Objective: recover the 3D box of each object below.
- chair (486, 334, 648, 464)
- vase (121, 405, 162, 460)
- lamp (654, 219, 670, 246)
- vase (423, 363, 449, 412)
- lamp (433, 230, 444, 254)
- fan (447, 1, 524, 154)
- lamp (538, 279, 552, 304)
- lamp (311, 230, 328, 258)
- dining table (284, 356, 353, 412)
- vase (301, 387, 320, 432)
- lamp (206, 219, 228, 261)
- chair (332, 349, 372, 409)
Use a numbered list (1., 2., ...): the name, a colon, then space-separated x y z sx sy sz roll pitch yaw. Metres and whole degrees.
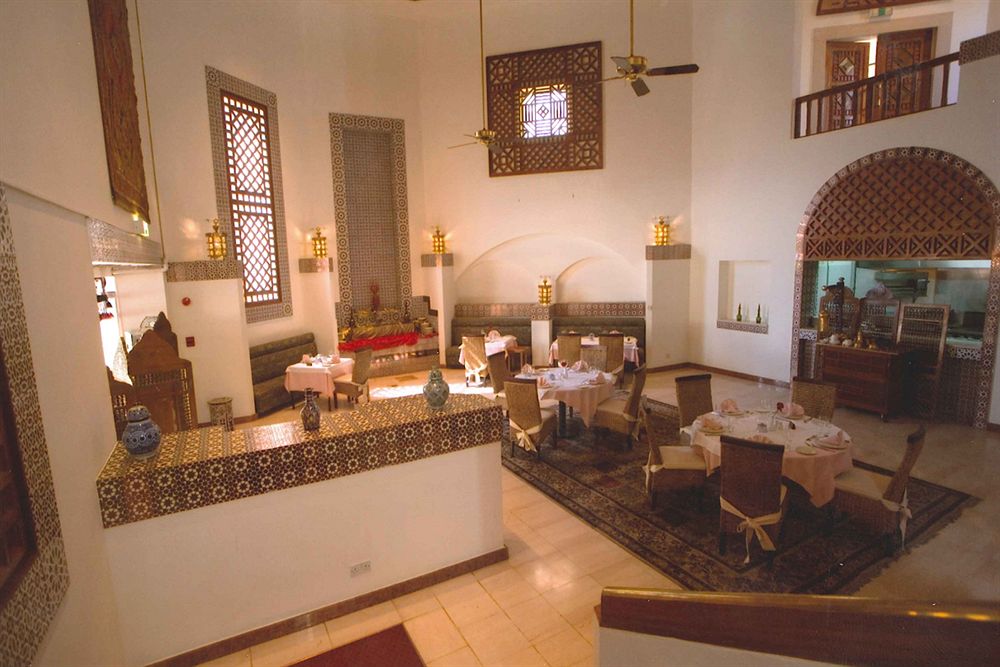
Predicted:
1. chair: 1.107 0.963 9.969 1.449 0.860 1.598 -3 16 1
2. vase: -3.209 0.887 6.300 0.445 0.419 0.445 -6 6 -24
3. lamp: 3.126 -2.014 13.431 0.352 0.494 0.201 -2 9 13
4. vase: -0.651 0.556 7.214 0.254 0.430 0.330 -5 8 -7
5. lamp: -1.245 -1.977 14.702 0.301 0.500 0.286 -5 9 -10
6. fan: -0.438 -5.155 13.789 0.794 2.922 1.388 -7 9 -24
7. lamp: 0.967 -0.906 14.515 0.314 0.547 0.692 -3 8 3
8. lamp: -3.445 -1.749 13.424 0.288 0.564 0.620 -6 9 -15
9. dining table: -3.130 0.977 11.884 1.056 0.638 1.216 7 21 13
10. vase: -1.813 0.735 6.721 0.164 0.405 0.267 -6 9 -17
11. lamp: -4.424 -1.489 10.951 0.298 0.622 0.788 -7 9 -22
12. chair: -2.473 0.752 11.734 0.648 1.016 0.759 -6 9 -13
